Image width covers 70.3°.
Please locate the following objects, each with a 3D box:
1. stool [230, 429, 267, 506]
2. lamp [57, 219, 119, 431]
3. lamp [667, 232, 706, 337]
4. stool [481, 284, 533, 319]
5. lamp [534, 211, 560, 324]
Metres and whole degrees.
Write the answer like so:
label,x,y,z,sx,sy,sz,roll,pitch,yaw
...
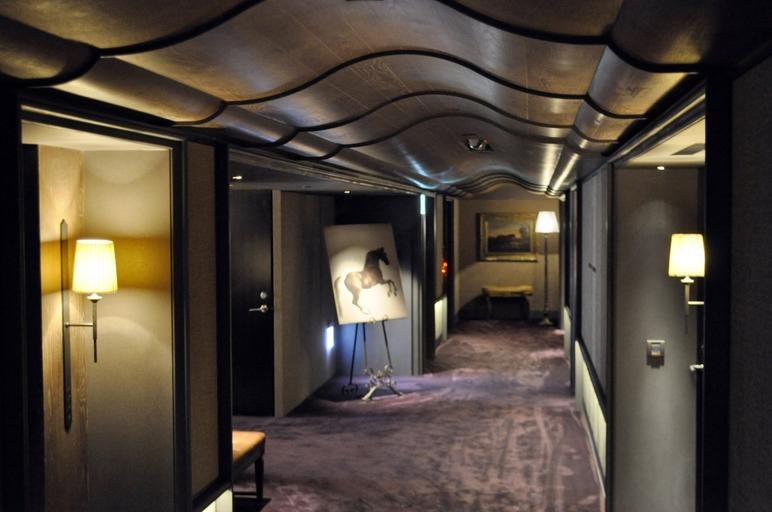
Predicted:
label,x,y,z,sx,sy,sz,roll,pitch,yaw
stool,-1.140,1.636,4.318,0.325,0.376,0.513,-1,-4,-21
lamp,-1.608,0.387,3.020,0.264,1.101,0.241,-2,2,-23
lamp,1.944,0.176,3.571,0.202,0.637,0.517,1,4,28
stool,2.742,0.951,12.398,1.121,0.687,0.784,-4,10,15
lamp,3.468,0.235,11.845,0.496,2.400,1.012,0,4,16
